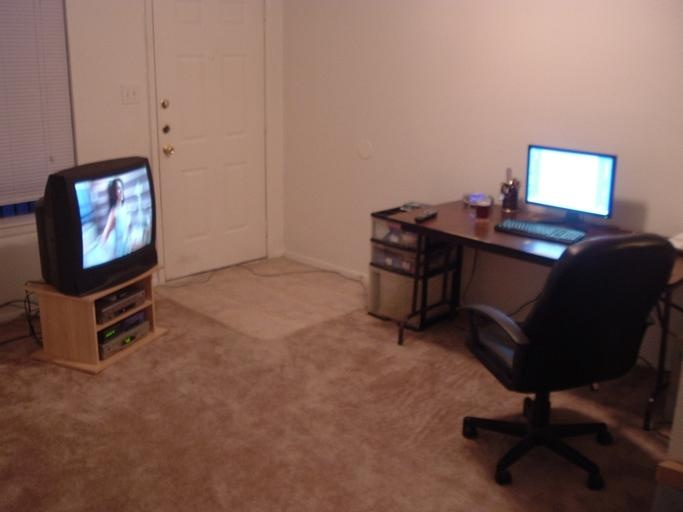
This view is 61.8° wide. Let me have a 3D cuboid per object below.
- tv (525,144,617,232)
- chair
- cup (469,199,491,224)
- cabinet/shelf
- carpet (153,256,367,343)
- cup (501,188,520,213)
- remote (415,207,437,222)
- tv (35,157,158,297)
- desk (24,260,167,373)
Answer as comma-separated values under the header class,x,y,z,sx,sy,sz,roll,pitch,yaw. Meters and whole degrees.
class,x,y,z,sx,sy,sz,roll,pitch,yaw
tv,1.406,-0.414,3.464,0.448,0.404,0.145,20,22,41
chair,1.021,0.458,2.701,0.817,1.248,0.398,2,21,4
cup,0.893,-0.288,3.681,0.155,0.144,0.103,8,20,25
cabinet/shelf,0.510,0.064,4.152,0.542,0.800,0.553,-12,23,-26
carpet,-0.617,0.340,4.420,1.566,0.032,1.145,4,22,9
cup,1.101,-0.359,3.746,0.145,0.140,0.112,-17,24,-39
remote,0.544,-0.272,3.720,0.067,0.053,0.166,17,29,37
tv,-1.462,-0.148,3.415,0.420,0.721,0.712,13,22,27
desk,-1.573,0.372,3.731,0.541,0.515,0.753,3,17,12
